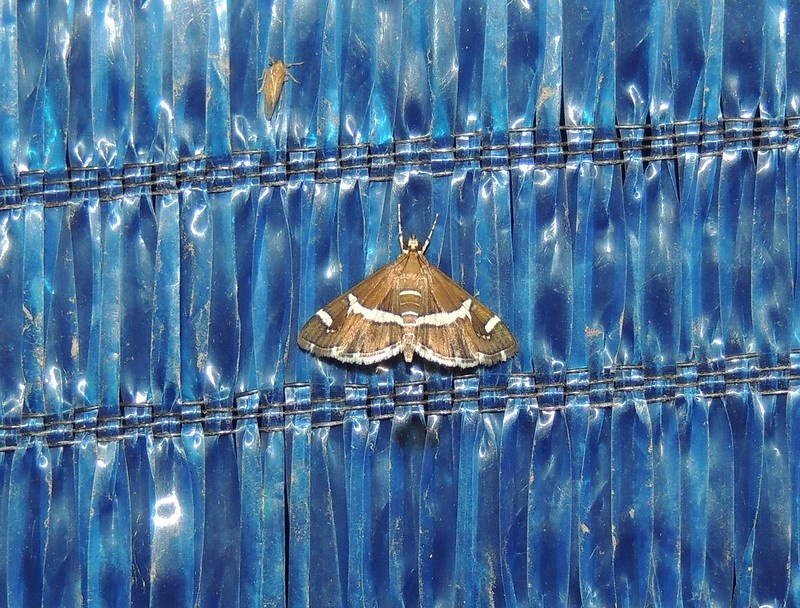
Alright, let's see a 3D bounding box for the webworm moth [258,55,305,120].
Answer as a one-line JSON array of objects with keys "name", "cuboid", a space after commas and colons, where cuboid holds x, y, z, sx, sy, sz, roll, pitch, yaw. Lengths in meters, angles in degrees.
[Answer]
[{"name": "webworm moth", "cuboid": [-0.320, -0.552, 4.822, 0.067, 0.037, 0.168, 4, -89, 2]}]
